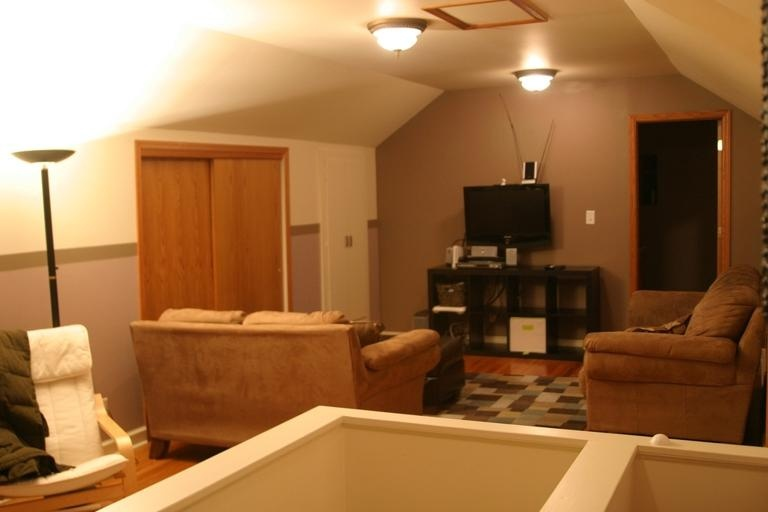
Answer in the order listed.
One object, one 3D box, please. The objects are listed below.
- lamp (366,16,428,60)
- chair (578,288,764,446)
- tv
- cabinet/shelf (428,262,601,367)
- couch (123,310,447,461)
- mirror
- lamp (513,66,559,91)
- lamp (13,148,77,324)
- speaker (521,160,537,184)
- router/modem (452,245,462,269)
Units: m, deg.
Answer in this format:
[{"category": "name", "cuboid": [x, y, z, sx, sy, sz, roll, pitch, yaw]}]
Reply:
[{"category": "lamp", "cuboid": [0.114, -1.672, 4.677, 0.281, 0.159, 0.260, 0, 1, 23]}, {"category": "chair", "cuboid": [2.233, 0.882, 4.726, 1.060, 0.828, 1.303, 0, -2, 23]}, {"category": "tv", "cuboid": [1.523, -0.476, 7.187, 0.868, 0.608, 0.091, 0, 3, 21]}, {"category": "cabinet/shelf", "cuboid": [1.635, 0.615, 7.207, 2.088, 1.114, 0.595, -1, 9, 40]}, {"category": "couch", "cuboid": [-0.824, 0.984, 4.535, 2.145, 1.169, 0.683, 0, 4, 7]}, {"category": "mirror", "cuboid": [3.545, -0.669, 7.299, 1.066, 2.095, 1.447, 1, 4, 23]}, {"category": "lamp", "cuboid": [1.625, -1.897, 6.480, 0.468, 0.186, 0.247, 0, 4, 14]}, {"category": "lamp", "cuboid": [-2.326, -0.106, 4.157, 0.351, 1.230, 0.493, -3, 5, -30]}, {"category": "speaker", "cuboid": [1.742, -0.992, 7.167, 0.200, 0.279, 0.200, 0, 4, 12]}, {"category": "router/modem", "cuboid": [0.879, 0.022, 7.252, 0.050, 0.145, 0.277, 3, 4, 25]}]
